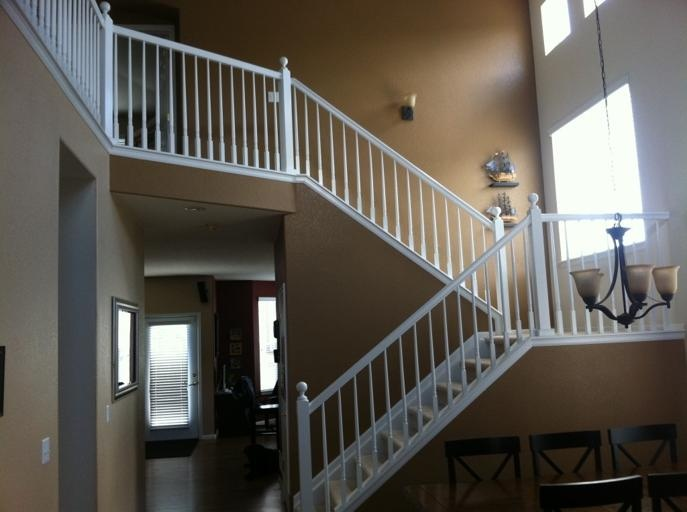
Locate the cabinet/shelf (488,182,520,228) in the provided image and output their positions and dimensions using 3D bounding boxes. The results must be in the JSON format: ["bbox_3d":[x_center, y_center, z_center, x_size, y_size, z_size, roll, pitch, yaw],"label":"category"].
[{"bbox_3d":[2.234,-0.706,8.432,0.429,0.650,0.184,1,-10,-25],"label":"cabinet/shelf"}]

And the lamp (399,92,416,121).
[{"bbox_3d":[0.869,-2.018,8.286,0.253,0.354,0.174,-3,-10,-3],"label":"lamp"}]
